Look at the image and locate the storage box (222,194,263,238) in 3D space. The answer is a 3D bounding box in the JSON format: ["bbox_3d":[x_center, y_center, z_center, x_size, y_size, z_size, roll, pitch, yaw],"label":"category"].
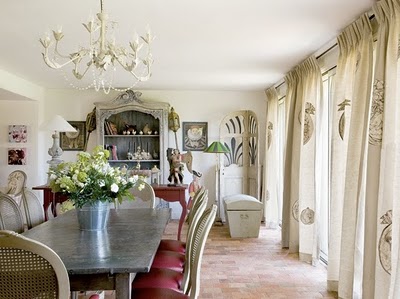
[{"bbox_3d":[0.766,1.153,5.417,0.459,0.507,0.775,0,-7,0],"label":"storage box"}]

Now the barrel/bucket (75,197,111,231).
[{"bbox_3d":[-0.984,0.603,2.931,0.270,0.229,0.269,1,-2,0],"label":"barrel/bucket"}]

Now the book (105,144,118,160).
[{"bbox_3d":[-1.766,0.059,6.464,0.221,0.434,0.424,0,0,0],"label":"book"}]

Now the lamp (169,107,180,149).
[{"bbox_3d":[-0.536,-0.455,6.592,0.240,0.895,0.323,-1,5,-3],"label":"lamp"}]

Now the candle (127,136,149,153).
[{"bbox_3d":[-1.311,-0.110,6.637,0.299,0.322,0.107,0,0,-1],"label":"candle"}]

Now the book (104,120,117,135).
[{"bbox_3d":[-1.823,-0.473,6.400,0.063,0.295,0.268,-23,-22,38],"label":"book"}]

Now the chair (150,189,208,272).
[{"bbox_3d":[-0.225,0.853,3.397,0.613,1.169,0.605,2,-9,-1],"label":"chair"}]

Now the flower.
[{"bbox_3d":[-1.078,0.284,3.025,0.649,0.493,0.625,-3,-8,42],"label":"flower"}]

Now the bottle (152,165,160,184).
[{"bbox_3d":[-0.767,0.439,5.396,0.121,0.259,0.372,-1,5,-11],"label":"bottle"}]

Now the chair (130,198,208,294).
[{"bbox_3d":[-0.243,0.952,3.254,0.713,1.188,0.617,3,-8,6],"label":"chair"}]

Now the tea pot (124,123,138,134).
[{"bbox_3d":[-1.442,-0.441,6.574,0.246,0.230,0.192,-6,16,-17],"label":"tea pot"}]

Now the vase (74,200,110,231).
[{"bbox_3d":[-1.026,0.613,3.058,0.323,0.290,0.355,2,1,15],"label":"vase"}]

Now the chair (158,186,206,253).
[{"bbox_3d":[-0.177,0.806,3.685,0.612,0.785,0.483,1,-1,0],"label":"chair"}]
